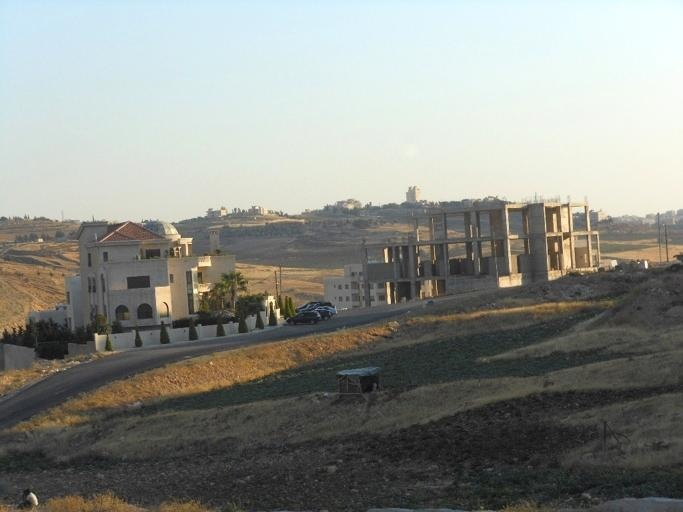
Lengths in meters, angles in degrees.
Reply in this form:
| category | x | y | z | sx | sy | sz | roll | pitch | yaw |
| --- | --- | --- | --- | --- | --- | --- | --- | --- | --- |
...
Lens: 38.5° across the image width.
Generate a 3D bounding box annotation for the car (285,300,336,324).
| category | x | y | z | sx | sy | sz | roll | pitch | yaw |
| --- | --- | --- | --- | --- | --- | --- | --- | --- | --- |
| car | -3.030 | 6.206 | 108.086 | 4.444 | 1.498 | 2.218 | -2 | -3 | -20 |
